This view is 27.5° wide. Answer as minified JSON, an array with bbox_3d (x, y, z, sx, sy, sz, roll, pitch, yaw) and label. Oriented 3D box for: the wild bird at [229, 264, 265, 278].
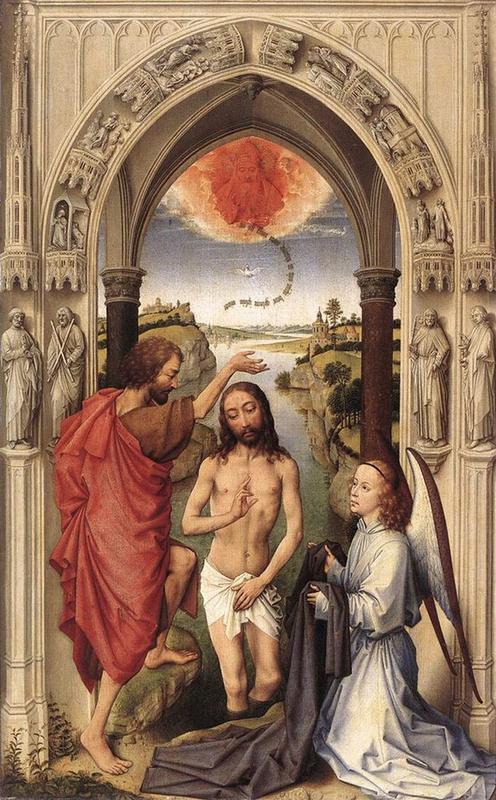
[{"bbox_3d":[0.006,-1.053,8.456,0.169,0.112,0.083,0,-4,0],"label":"wild bird"}]
